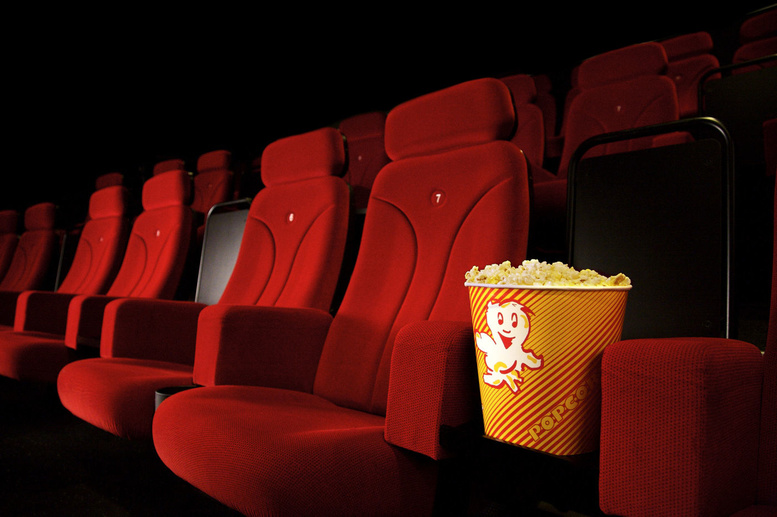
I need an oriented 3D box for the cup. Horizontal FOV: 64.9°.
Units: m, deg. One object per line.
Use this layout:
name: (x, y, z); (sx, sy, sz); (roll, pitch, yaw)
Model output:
cup: (0.391, 0.266, 1.501); (0.394, 0.338, 0.438); (-1, -11, 38)
